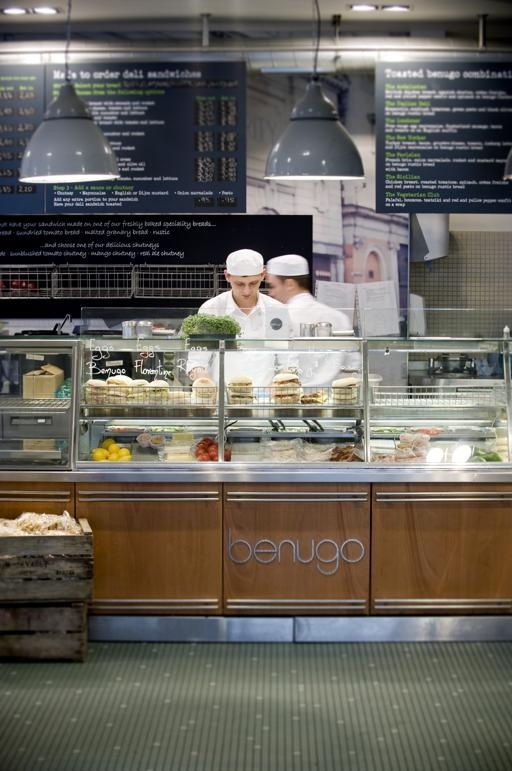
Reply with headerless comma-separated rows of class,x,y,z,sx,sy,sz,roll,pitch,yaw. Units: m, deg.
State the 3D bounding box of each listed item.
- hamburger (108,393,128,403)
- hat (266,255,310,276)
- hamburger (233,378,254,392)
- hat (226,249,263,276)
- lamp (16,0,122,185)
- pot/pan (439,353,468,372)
hamburger,-0.662,0.061,3.083,0.075,0.043,0.051,-1,-1,-1
hat,0.252,-0.974,5.388,0.277,0.147,0.173,-1,6,-3
hamburger,-0.067,-0.003,3.086,0.065,0.053,0.065,-1,4,-28
hat,-0.092,-0.905,4.884,0.204,0.116,0.307,2,15,-1
lamp,-0.808,-1.116,2.852,0.398,0.487,0.239,1,-1,-20
pot/pan,1.011,-0.111,3.374,0.095,0.070,0.097,0,-6,1
